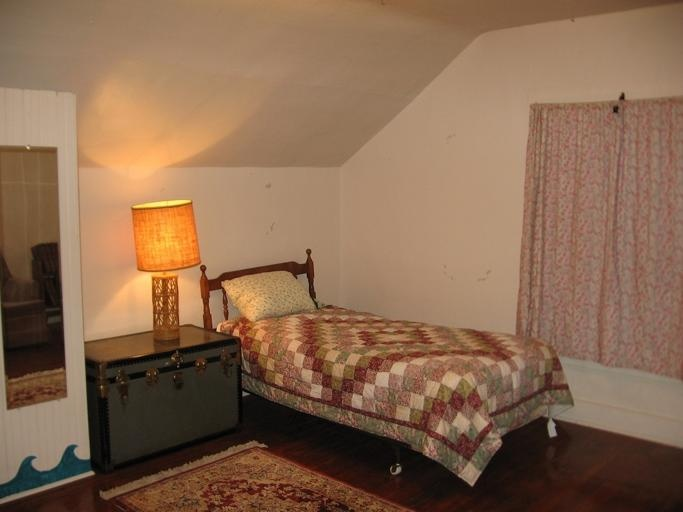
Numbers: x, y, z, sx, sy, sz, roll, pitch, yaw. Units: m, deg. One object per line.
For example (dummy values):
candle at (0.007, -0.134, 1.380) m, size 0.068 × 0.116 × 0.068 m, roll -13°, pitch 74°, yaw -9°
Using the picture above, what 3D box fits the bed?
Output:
bed at (0.178, 0.712, 4.303) m, size 2.407 × 1.244 × 1.524 m, roll 7°, pitch 13°, yaw 43°

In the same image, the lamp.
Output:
lamp at (-1.393, 0.096, 4.274) m, size 0.482 × 1.038 × 0.392 m, roll 6°, pitch 10°, yaw 39°

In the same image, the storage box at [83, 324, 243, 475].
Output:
storage box at (-1.389, 1.043, 4.179) m, size 1.118 × 0.745 × 0.785 m, roll -5°, pitch 4°, yaw -44°
